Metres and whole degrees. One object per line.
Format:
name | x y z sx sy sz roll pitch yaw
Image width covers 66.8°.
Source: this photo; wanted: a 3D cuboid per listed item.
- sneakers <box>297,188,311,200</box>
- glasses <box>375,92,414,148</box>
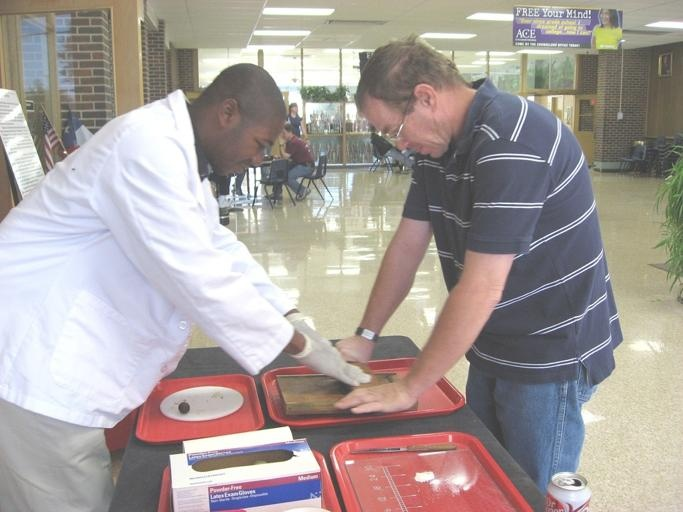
sneakers | -0.836 -1.330 11.022 0.175 0.084 0.298 17 26 3
glasses | 0.168 -0.395 1.497 0.030 0.110 0.094 -4 22 -39
